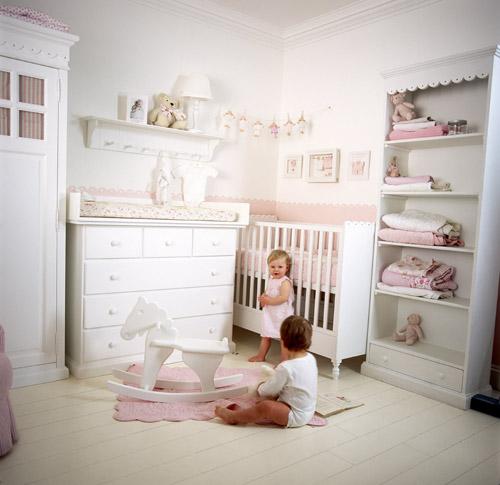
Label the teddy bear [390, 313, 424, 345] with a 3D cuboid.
[{"bbox_3d":[1.106,0.590,2.848,0.150,0.224,0.182,16,-7,-44],"label":"teddy bear"}]

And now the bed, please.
[{"bbox_3d":[0.196,0.318,3.250,1.251,1.007,0.503,9,13,44],"label":"bed"}]

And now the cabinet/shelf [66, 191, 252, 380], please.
[{"bbox_3d":[-0.613,0.281,2.629,1.174,1.117,0.455,-1,3,-33],"label":"cabinet/shelf"}]

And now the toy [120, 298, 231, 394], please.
[{"bbox_3d":[-0.392,0.574,2.236,0.656,0.509,0.236,3,1,2],"label":"toy"}]

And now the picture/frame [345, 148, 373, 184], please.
[{"bbox_3d":[0.872,-0.609,3.263,0.031,0.347,0.276,1,4,-34],"label":"picture/frame"}]

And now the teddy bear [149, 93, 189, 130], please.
[{"bbox_3d":[-0.621,-1.008,3.183,0.237,0.281,0.177,10,11,-11],"label":"teddy bear"}]

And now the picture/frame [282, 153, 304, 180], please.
[{"bbox_3d":[0.409,-0.712,3.831,0.028,0.268,0.255,-2,5,-38],"label":"picture/frame"}]
